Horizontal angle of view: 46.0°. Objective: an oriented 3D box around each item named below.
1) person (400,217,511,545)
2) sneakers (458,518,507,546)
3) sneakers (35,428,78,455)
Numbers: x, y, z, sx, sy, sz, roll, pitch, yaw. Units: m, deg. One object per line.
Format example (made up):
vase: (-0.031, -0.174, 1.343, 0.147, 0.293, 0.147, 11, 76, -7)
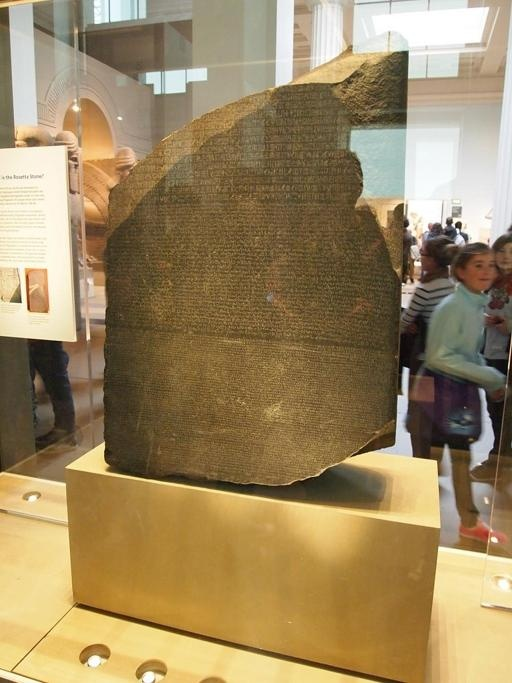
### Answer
person: (0.712, 0.221, 2.191, 0.324, 1.147, 0.192, 2, 11, 13)
sneakers: (0.837, 0.721, 2.269, 0.181, 0.076, 0.073, 1, 13, 24)
sneakers: (-0.868, 0.457, 2.777, 0.263, 0.109, 0.088, 4, 6, 4)
